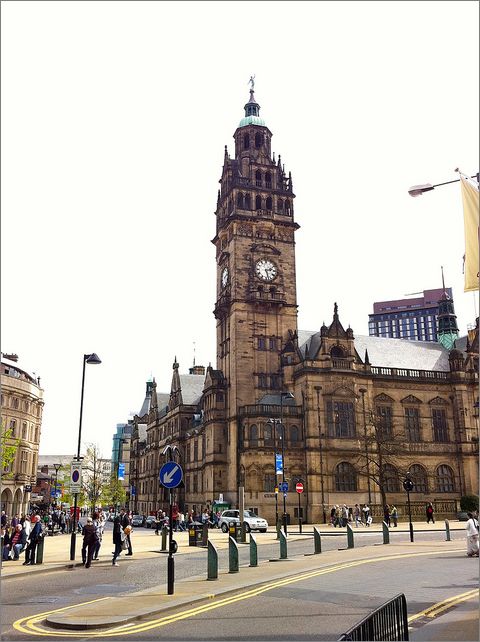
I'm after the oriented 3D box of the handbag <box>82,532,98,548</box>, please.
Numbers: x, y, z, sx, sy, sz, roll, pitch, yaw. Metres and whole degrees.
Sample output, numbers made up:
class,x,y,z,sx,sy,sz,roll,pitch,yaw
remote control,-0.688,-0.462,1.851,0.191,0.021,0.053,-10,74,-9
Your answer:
class,x,y,z,sx,sy,sz,roll,pitch,yaw
handbag,-5.227,7.495,20.088,0.439,0.706,0.687,4,-19,-17

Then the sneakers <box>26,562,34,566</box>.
class,x,y,z,sx,sy,sz,roll,pitch,yaw
sneakers,-7.646,8.893,21.238,0.223,0.134,0.514,5,-20,-20

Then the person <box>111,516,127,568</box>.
class,x,y,z,sx,sy,sz,roll,pitch,yaw
person,-4.535,8.168,21.595,0.395,1.772,1.537,2,-18,-12

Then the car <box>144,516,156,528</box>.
class,x,y,z,sx,sy,sz,roll,pitch,yaw
car,-10.364,23.359,66.830,1.060,1.203,3.101,1,-19,-9

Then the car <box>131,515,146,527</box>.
class,x,y,z,sx,sy,sz,roll,pitch,yaw
car,-12.424,24.452,70.437,1.398,1.286,2.517,5,-22,-17

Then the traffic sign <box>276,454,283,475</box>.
class,x,y,z,sx,sy,sz,roll,pitch,yaw
traffic sign,3.437,12.487,50.120,0.506,1.407,1.440,-4,-18,8
